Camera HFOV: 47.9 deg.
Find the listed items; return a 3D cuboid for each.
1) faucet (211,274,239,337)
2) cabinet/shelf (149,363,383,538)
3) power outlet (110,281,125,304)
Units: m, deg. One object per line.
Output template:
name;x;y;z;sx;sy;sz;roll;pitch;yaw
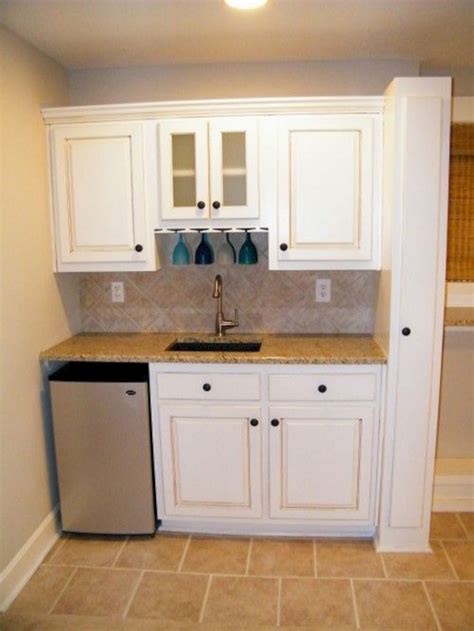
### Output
faucet;-0.056;-0.047;2.659;0.127;0.312;0.222;-1;10;-3
cabinet/shelf;0.134;0.555;2.313;0.734;0.664;0.295;0;5;6
power outlet;-0.626;-0.122;2.796;0.074;0.107;0.016;2;11;15
